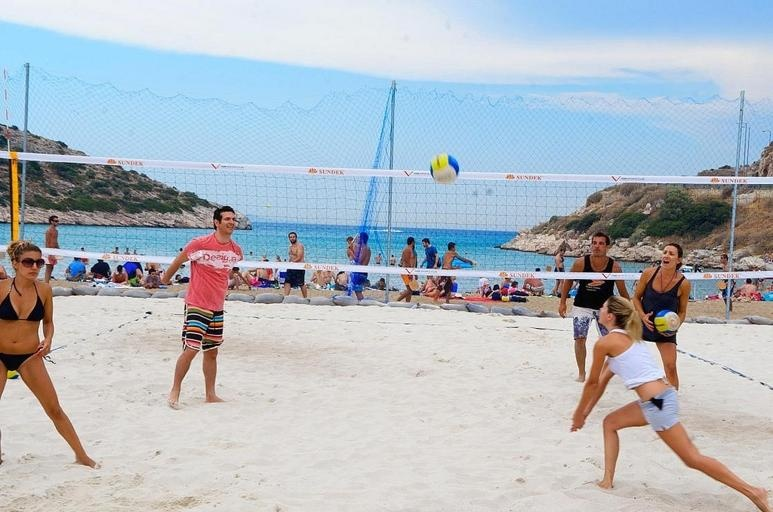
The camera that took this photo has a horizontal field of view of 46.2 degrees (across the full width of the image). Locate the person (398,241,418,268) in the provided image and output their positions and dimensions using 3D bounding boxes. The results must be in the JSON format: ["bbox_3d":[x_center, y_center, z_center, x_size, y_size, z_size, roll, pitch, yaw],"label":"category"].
[{"bbox_3d":[0.362,-0.031,15.498,0.316,0.704,0.223,19,30,39],"label":"person"}]

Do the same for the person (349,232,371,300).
[{"bbox_3d":[-0.430,0.136,15.177,0.328,1.113,1.125,2,2,-2],"label":"person"}]

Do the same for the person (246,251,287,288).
[{"bbox_3d":[-2.378,0.281,17.756,1.151,0.639,0.552,-2,-2,4],"label":"person"}]

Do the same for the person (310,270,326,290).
[{"bbox_3d":[-1.293,0.455,17.571,0.337,0.343,0.929,2,1,-4],"label":"person"}]

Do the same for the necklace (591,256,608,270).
[{"bbox_3d":[2.509,0.077,10.579,0.149,0.176,0.169,-4,-14,3],"label":"necklace"}]

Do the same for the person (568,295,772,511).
[{"bbox_3d":[2.546,1.298,8.467,1.534,1.823,0.449,2,2,10],"label":"person"}]

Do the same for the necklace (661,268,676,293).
[{"bbox_3d":[3.014,0.258,9.653,0.161,0.237,0.242,3,1,0],"label":"necklace"}]

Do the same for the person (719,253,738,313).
[{"bbox_3d":[6.076,0.462,15.761,0.219,1.114,0.207,-1,-1,21],"label":"person"}]

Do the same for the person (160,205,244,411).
[{"bbox_3d":[-2.012,0.528,9.891,0.788,2.170,0.551,2,2,-9],"label":"person"}]

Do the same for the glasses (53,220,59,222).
[{"bbox_3d":[-5.876,-0.615,16.060,0.050,0.033,0.050,4,-6,-38],"label":"glasses"}]
